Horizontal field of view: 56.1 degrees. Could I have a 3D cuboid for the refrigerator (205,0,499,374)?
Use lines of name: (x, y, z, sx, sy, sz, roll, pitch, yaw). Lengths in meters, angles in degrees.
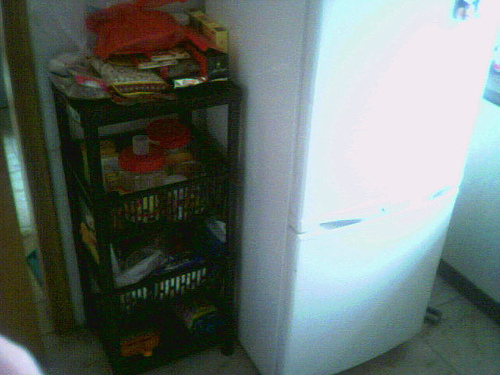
refrigerator: (0.326, 0.063, 1.452, 0.813, 1.221, 0.416, -5, 31, -3)
